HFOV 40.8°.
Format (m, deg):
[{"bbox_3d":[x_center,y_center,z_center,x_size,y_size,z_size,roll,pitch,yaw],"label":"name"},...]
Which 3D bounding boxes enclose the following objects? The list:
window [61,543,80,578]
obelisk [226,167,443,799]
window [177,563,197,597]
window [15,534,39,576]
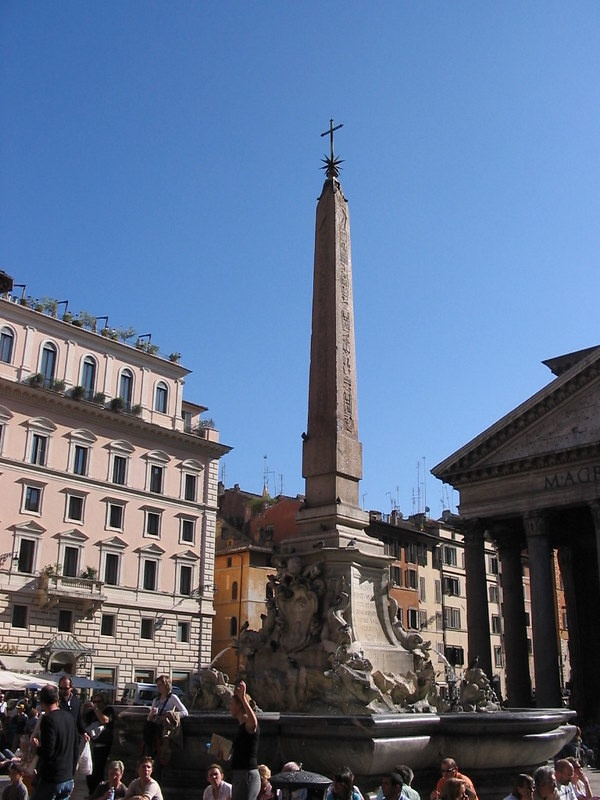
[{"bbox_3d":[-9.837,6.874,34.647,0.745,1.258,0.207,12,-22,-36],"label":"window"},{"bbox_3d":[0.329,-0.181,10.171,1.712,7.598,2.310,2,-18,-9],"label":"obelisk"},{"bbox_3d":[-5.581,8.811,39.492,0.251,2.258,1.318,-23,-28,40],"label":"window"},{"bbox_3d":[-11.178,6.343,33.009,0.778,1.425,0.270,14,-23,-40],"label":"window"}]
